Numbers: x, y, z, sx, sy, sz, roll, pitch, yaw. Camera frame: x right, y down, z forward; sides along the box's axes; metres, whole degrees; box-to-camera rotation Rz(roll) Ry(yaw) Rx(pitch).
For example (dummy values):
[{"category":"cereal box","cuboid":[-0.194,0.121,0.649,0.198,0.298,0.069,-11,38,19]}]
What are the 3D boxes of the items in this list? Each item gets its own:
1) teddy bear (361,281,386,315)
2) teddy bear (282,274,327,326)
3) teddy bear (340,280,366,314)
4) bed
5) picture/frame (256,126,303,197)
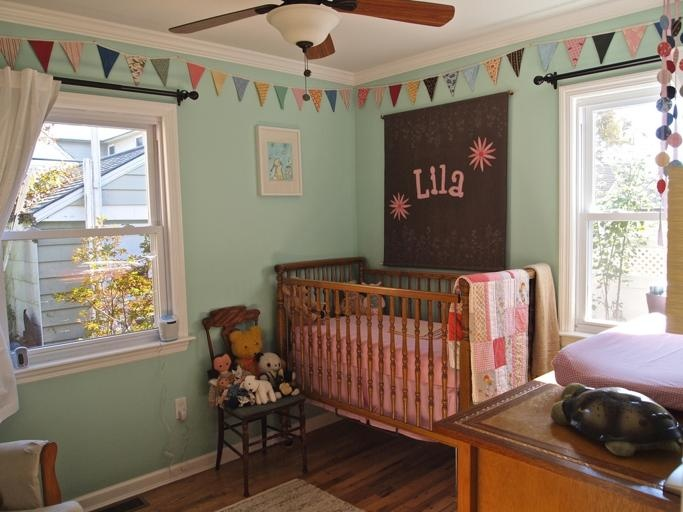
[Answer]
[{"category":"teddy bear","cuboid":[0.225,0.316,3.808,0.231,0.211,0.199,0,4,-2]},{"category":"teddy bear","cuboid":[-0.245,0.298,3.706,0.276,0.315,0.270,-2,5,14]},{"category":"teddy bear","cuboid":[0.071,0.325,3.877,0.252,0.258,0.184,-2,-3,30]},{"category":"bed","cuboid":[0.430,0.283,3.601,1.791,1.211,1.081,7,13,42]},{"category":"picture/frame","cuboid":[-0.470,-0.689,3.834,0.065,0.635,0.521,1,3,42]}]
